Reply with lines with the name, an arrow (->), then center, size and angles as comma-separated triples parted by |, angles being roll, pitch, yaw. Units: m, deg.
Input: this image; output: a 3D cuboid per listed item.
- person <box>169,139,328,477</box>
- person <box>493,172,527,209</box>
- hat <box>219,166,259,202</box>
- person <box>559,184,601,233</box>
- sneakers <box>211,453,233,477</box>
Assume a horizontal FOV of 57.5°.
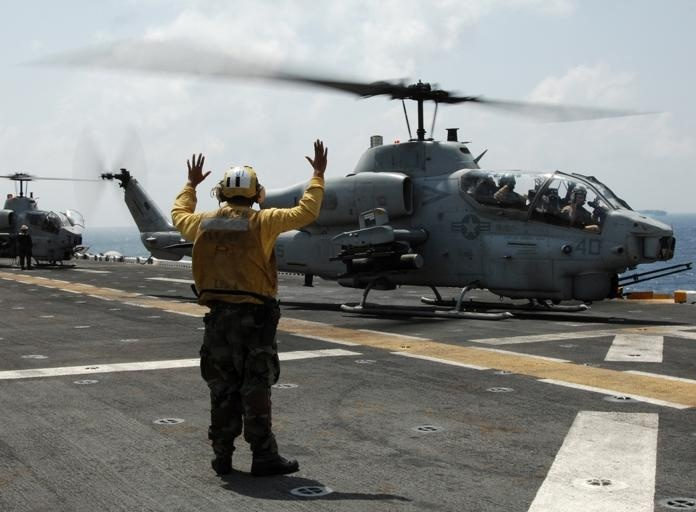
person -> -0.845, 0.457, 5.454 | 1.145, 2.573, 1.088 | -1, 5, -14
person -> 3.761, -1.487, 14.505 | 0.704, 0.810, 0.307 | 4, 6, 38
hat -> -1.024, -0.663, 5.710 | 0.494, 0.265, 0.420 | 5, 8, -13
person -> 5.104, -1.043, 13.879 | 0.793, 0.986, 0.323 | 2, 5, 21
sneakers -> -1.017, 1.678, 5.125 | 0.162, 0.162, 0.183 | -1, 4, -10
